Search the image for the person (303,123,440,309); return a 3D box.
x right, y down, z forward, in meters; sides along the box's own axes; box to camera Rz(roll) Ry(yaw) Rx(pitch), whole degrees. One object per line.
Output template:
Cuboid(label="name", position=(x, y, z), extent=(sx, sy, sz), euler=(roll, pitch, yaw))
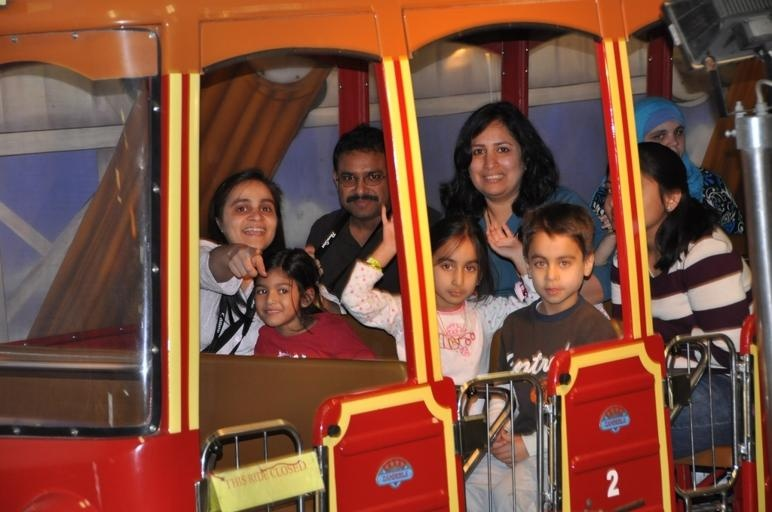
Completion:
Cuboid(label="person", position=(-0.066, -0.203, 4.338), extent=(0.977, 0.906, 0.528), euler=(-2, 15, 13))

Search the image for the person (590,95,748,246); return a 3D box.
Cuboid(label="person", position=(1.490, -0.470, 4.410), extent=(0.744, 0.667, 0.417), euler=(-16, 20, -6))

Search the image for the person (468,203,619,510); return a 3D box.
Cuboid(label="person", position=(0.680, 0.452, 3.831), extent=(0.786, 1.403, 0.505), euler=(-9, -10, 16))

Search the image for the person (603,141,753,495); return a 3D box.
Cuboid(label="person", position=(1.556, 0.205, 4.214), extent=(0.741, 1.642, 0.524), euler=(2, -12, -41))
